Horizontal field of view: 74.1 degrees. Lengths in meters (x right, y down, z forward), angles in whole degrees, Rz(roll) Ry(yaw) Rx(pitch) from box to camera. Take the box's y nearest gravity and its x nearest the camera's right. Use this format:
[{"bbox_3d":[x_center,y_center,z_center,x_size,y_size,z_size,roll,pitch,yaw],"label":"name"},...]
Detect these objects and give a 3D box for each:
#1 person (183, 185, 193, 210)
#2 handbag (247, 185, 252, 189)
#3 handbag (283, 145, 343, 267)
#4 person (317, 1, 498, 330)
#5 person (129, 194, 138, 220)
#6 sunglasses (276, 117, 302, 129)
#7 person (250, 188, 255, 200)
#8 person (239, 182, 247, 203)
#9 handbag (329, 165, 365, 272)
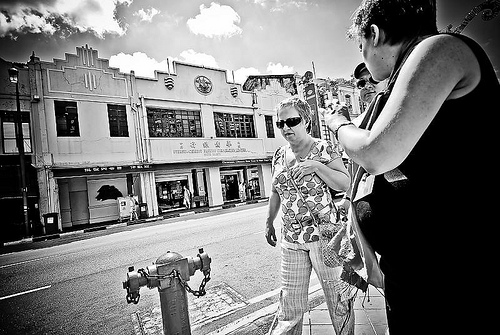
[{"bbox_3d":[-3.743,1.785,19.793,0.579,1.376,0.658,-5,4,-10],"label":"person"},{"bbox_3d":[-0.031,1.414,22.945,0.314,0.322,0.174,1,3,-2],"label":"handbag"},{"bbox_3d":[0.652,0.358,2.773,0.320,0.771,0.418,-27,-7,19],"label":"handbag"},{"bbox_3d":[0.895,-0.009,1.817,0.754,1.854,0.347,-3,5,16],"label":"person"},{"bbox_3d":[-5.887,2.072,16.697,0.398,1.084,0.730,-5,5,-19],"label":"person"},{"bbox_3d":[0.343,-0.394,2.984,0.243,0.096,0.136,-3,5,17],"label":"sunglasses"},{"bbox_3d":[0.158,1.849,23.001,0.217,0.721,0.522,-2,5,22],"label":"person"},{"bbox_3d":[-0.521,1.651,22.143,0.422,1.178,0.976,-4,4,-2],"label":"person"},{"bbox_3d":[0.675,0.398,2.207,0.140,0.581,0.422,13,3,5],"label":"handbag"}]
